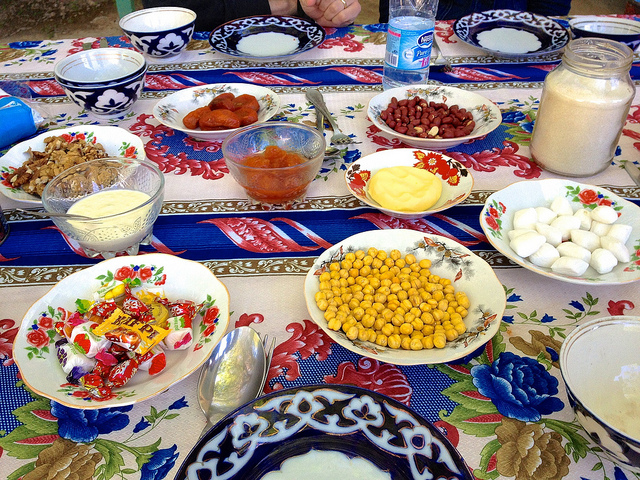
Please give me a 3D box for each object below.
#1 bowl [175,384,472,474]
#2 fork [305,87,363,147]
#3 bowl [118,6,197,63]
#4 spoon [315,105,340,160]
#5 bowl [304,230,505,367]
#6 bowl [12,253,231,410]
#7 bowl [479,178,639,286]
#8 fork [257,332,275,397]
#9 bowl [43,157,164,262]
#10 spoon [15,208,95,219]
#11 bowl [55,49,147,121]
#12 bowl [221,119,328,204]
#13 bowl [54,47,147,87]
[{"bbox_3d":[0.016,0.302,0.750,0.402,0.054,0.163,6,44,7],"label":"bowl"},{"bbox_3d":[0.023,-0.356,1.485,0.074,0.054,0.376,-18,50,-15],"label":"fork"},{"bbox_3d":[-0.553,-0.747,1.741,0.260,0.116,0.218,-7,45,-8],"label":"bowl"},{"bbox_3d":[0.006,-0.297,1.371,0.041,0.029,0.194,-14,54,-11],"label":"spoon"},{"bbox_3d":[0.148,0.096,0.926,0.348,0.056,0.319,0,43,0],"label":"bowl"},{"bbox_3d":[-0.336,0.147,0.871,0.333,0.059,0.317,0,43,0],"label":"bowl"},{"bbox_3d":[0.497,-0.030,1.026,0.316,0.054,0.303,0,43,0],"label":"bowl"},{"bbox_3d":[-0.088,0.213,0.888,0.015,0.012,0.098,25,48,-11],"label":"fork"},{"bbox_3d":[-0.465,-0.050,1.140,0.276,0.152,0.228,-3,47,-7],"label":"bowl"},{"bbox_3d":[-0.544,-0.056,1.038,0.129,0.016,0.011,10,61,1],"label":"spoon"},{"bbox_3d":[-0.629,-0.453,1.492,0.297,0.142,0.256,-3,32,-15],"label":"bowl"},{"bbox_3d":[-0.108,-0.179,1.203,0.249,0.110,0.215,-13,42,-16],"label":"bowl"},{"bbox_3d":[-0.652,-0.515,1.496,0.223,0.072,0.185,1,41,-4],"label":"bowl"}]
